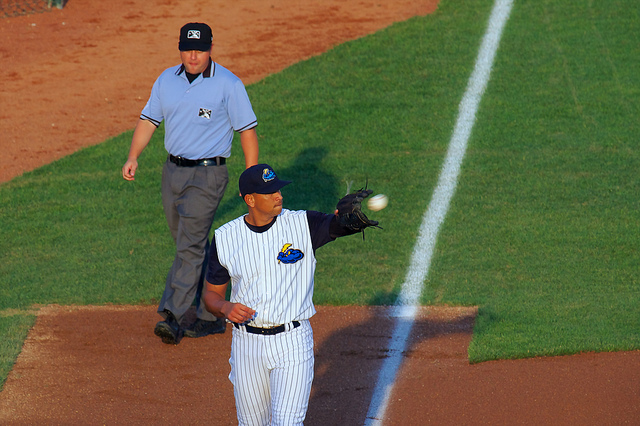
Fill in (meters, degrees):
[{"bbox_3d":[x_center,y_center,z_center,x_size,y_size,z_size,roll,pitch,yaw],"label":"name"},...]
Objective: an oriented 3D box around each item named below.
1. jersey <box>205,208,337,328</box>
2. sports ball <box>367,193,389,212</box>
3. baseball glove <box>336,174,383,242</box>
[{"bbox_3d":[-0.712,0.811,14.970,1.614,1.780,0.617,-1,2,-2],"label":"jersey"},{"bbox_3d":[0.780,-0.096,14.592,0.218,0.117,0.224,-18,14,4],"label":"sports ball"},{"bbox_3d":[0.496,0.028,14.574,0.533,0.635,0.370,4,29,1],"label":"baseball glove"}]
